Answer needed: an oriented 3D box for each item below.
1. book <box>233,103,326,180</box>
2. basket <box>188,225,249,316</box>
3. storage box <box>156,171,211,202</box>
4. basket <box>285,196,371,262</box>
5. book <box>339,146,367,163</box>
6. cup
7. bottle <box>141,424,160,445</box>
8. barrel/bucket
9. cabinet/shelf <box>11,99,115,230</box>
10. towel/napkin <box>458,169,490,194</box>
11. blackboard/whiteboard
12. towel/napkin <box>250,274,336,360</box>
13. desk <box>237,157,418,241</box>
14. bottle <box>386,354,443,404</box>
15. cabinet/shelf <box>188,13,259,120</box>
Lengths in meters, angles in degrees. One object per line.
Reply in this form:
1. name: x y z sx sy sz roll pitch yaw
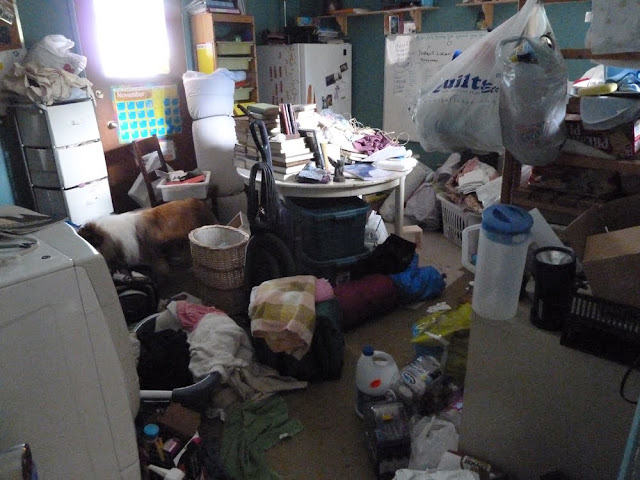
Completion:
1. book: -0.240 -0.717 3.639 0.699 0.317 0.535 -19 31 -40
2. basket: -0.672 0.242 3.499 0.421 0.525 0.321 9 18 28
3. storage box: -1.183 -0.444 4.350 0.415 0.152 0.475 -4 12 -7
4. basket: 0.024 -0.110 3.527 0.553 0.339 0.415 -14 29 -25
5. book: 0.247 -0.653 3.842 0.181 0.059 0.180 16 20 29
6. cup: 0.685 0.089 1.870 0.176 0.417 0.159 9 26 26
7. bottle: -0.690 0.788 2.013 0.062 0.054 0.066 -7 23 -10
8. barrel/bucket: 0.289 0.726 2.491 0.238 0.246 0.333 12 59 -9
9. cabinet/shelf: -2.008 -0.613 3.958 0.381 0.938 0.497 9 26 15
10. towel/napkin: 1.257 -0.487 4.072 0.228 0.081 0.194 -16 30 25
11. blackboard/whiteboard: 1.071 -1.604 5.309 0.205 1.131 0.978 -21 28 -35
12. towel/napkin: -0.211 0.444 2.872 0.378 0.331 0.405 -3 22 -1
13. desk: 0.161 -0.365 3.629 0.846 0.594 0.881 14 20 39
14. bottle: 0.477 0.652 2.396 0.150 0.075 0.233 23 44 39
15. cabinet/shelf: -0.878 -1.840 5.005 0.463 0.806 0.239 -7 36 -17
